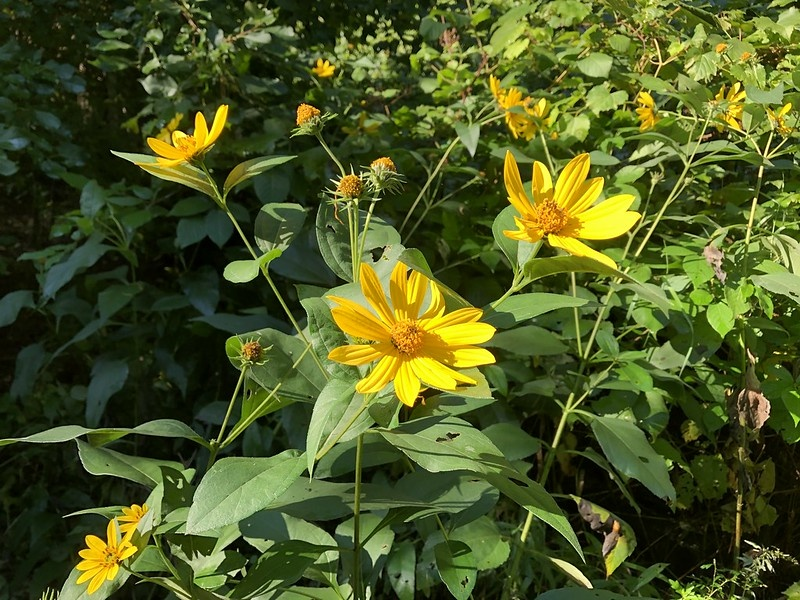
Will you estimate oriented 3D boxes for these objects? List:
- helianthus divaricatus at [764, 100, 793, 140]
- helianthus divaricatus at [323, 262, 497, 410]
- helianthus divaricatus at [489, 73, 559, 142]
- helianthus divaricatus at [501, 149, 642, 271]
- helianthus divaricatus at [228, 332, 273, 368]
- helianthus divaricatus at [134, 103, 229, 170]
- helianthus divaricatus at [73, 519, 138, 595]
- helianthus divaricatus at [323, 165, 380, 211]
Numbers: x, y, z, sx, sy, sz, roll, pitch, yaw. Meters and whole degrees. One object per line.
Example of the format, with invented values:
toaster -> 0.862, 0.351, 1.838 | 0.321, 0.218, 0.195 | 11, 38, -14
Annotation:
helianthus divaricatus -> 1.135, -0.534, 1.959 | 0.135, 0.038, 0.113 | 15, 52, 1
helianthus divaricatus -> 0.024, 0.046, 1.318 | 0.346, 0.300, 0.251 | 2, 11, 0
helianthus divaricatus -> 0.343, -0.598, 2.145 | 0.283, 0.229, 0.133 | 14, -28, -42
helianthus divaricatus -> 0.345, -0.203, 1.327 | 0.279, 0.193, 0.167 | 19, 16, 12
helianthus divaricatus -> -0.330, 0.116, 1.425 | 0.096, 0.075, 0.039 | 11, -18, 2
helianthus divaricatus -> -0.486, -0.377, 1.465 | 0.139, 0.152, 0.189 | 11, 16, -22
helianthus divaricatus -> -0.656, 0.567, 1.434 | 0.092, 0.223, 0.189 | 12, 17, -27
helianthus divaricatus -> -0.107, -0.251, 1.476 | 0.115, 0.114, 0.252 | 14, 14, -9
